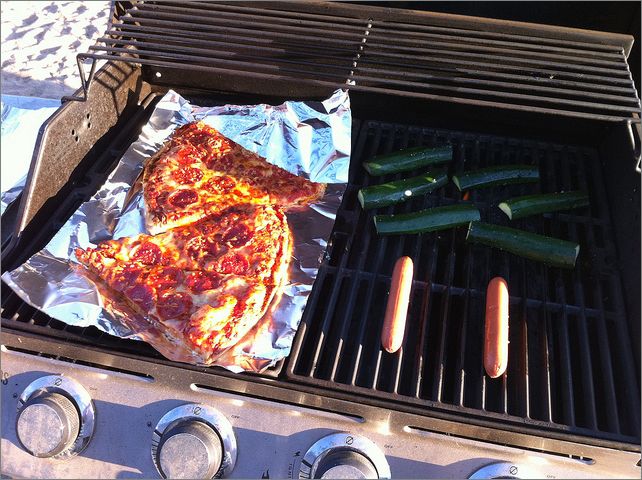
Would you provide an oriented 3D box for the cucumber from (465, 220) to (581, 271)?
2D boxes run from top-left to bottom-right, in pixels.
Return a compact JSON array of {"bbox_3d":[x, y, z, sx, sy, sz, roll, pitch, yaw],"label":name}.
[{"bbox_3d":[1.068,0.025,2.956,0.581,0.194,0.105,6,-32,9],"label":"cucumber"}]

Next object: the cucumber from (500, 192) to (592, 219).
[{"bbox_3d":[1.220,-0.169,3.179,0.583,0.159,0.134,-5,-49,6],"label":"cucumber"}]

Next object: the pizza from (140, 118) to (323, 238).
[{"bbox_3d":[-0.558,-0.366,3.254,0.903,0.623,0.123,10,-35,0],"label":"pizza"}]

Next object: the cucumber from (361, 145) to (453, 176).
[{"bbox_3d":[0.528,-0.460,3.340,0.521,0.130,0.131,-9,-28,7],"label":"cucumber"}]

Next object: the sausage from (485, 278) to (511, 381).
[{"bbox_3d":[0.843,0.415,2.689,0.105,0.496,0.139,3,-33,16],"label":"sausage"}]

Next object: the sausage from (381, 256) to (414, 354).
[{"bbox_3d":[0.377,0.323,2.756,0.111,0.483,0.178,8,-32,10],"label":"sausage"}]
